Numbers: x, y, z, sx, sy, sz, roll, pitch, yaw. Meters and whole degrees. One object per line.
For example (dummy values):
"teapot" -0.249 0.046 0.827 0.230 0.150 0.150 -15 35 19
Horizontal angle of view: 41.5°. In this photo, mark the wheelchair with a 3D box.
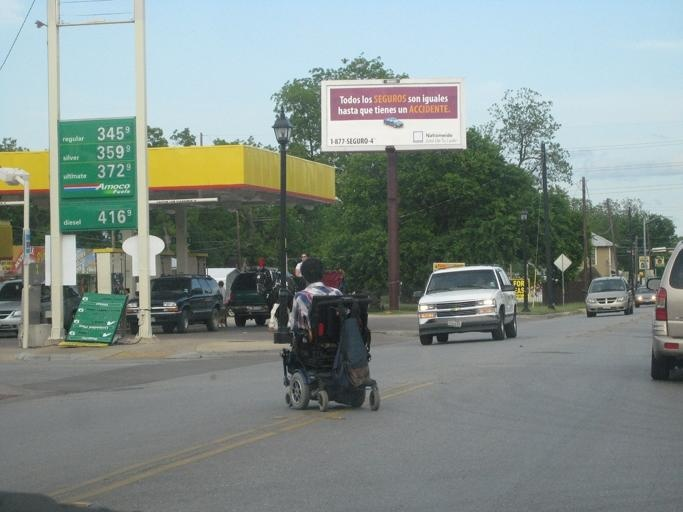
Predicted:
"wheelchair" -0.010 1.401 13.220 1.115 1.744 1.587 0 2 -20

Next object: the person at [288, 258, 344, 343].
"person" -0.382 0.582 13.036 0.680 1.256 0.581 -13 27 -27
